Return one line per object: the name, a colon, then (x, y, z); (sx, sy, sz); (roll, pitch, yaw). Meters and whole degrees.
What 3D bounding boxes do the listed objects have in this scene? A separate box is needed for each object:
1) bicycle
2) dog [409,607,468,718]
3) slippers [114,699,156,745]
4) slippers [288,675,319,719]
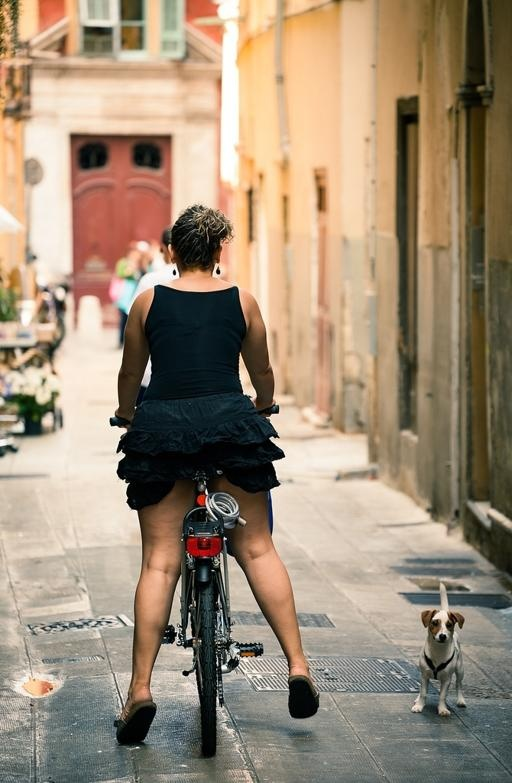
bicycle: (-0.128, 0.549, 2.791); (0.421, 0.544, 0.927); (0, 7, -2)
dog: (0.619, 0.870, 3.419); (0.156, 0.352, 0.483); (2, -7, 16)
slippers: (-0.337, 0.890, 2.833); (0.081, 0.078, 0.203); (9, -25, -19)
slippers: (0.126, 0.841, 2.875); (0.058, 0.060, 0.152); (-2, -37, 3)
